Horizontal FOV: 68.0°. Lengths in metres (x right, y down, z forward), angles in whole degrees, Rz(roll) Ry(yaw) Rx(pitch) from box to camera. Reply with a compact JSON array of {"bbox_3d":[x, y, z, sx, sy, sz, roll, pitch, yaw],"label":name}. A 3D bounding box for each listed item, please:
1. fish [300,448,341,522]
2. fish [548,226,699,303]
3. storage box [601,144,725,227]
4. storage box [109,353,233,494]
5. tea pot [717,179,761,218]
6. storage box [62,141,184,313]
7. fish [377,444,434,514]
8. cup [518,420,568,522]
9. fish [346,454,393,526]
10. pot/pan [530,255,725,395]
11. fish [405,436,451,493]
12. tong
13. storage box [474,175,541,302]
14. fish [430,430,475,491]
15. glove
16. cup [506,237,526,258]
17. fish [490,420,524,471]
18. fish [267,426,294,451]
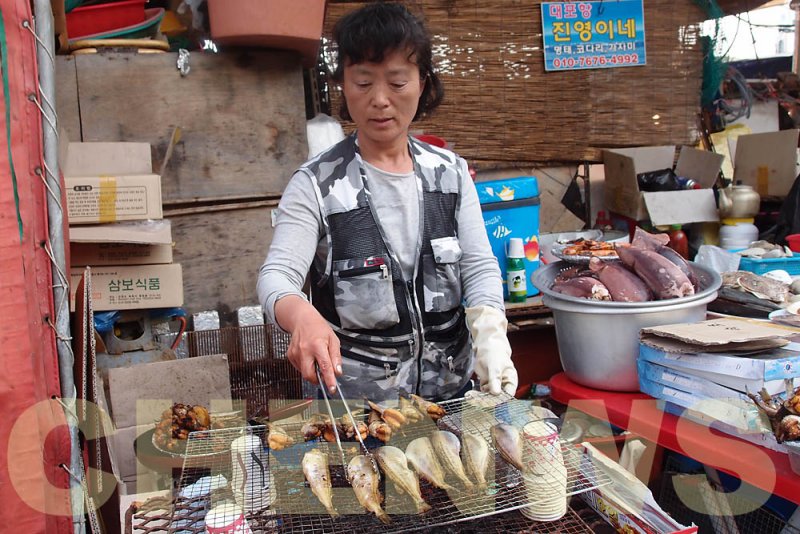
[{"bbox_3d":[-0.311,0.821,2.261,0.108,0.193,0.223,-8,7,-12],"label":"fish"},{"bbox_3d":[1.263,0.014,3.358,0.581,0.249,0.535,10,15,19],"label":"fish"},{"bbox_3d":[2.346,-0.753,5.329,0.822,0.516,0.960,-3,22,0],"label":"storage box"},{"bbox_3d":[-1.226,0.894,3.257,0.668,0.657,0.696,-9,7,-22],"label":"storage box"},{"bbox_3d":[2.848,-0.550,5.013,0.336,0.258,0.333,-4,9,1],"label":"tea pot"},{"bbox_3d":[-1.878,-0.355,4.106,0.817,1.065,1.041,-3,26,-12],"label":"storage box"},{"bbox_3d":[0.009,0.805,2.289,0.119,0.116,0.250,37,9,-33],"label":"fish"},{"bbox_3d":[0.555,0.796,2.303,0.179,0.313,0.303,-5,7,14],"label":"cup"},{"bbox_3d":[-0.127,0.821,2.242,0.089,0.073,0.278,-11,42,-11],"label":"fish"},{"bbox_3d":[1.139,0.338,3.016,0.789,0.452,0.785,0,6,5],"label":"pot/pan"},{"bbox_3d":[0.112,0.769,2.382,0.175,0.079,0.212,1,31,-6],"label":"fish"},{"bbox_3d":[-0.200,0.657,2.344,0.158,0.073,0.636,-6,52,-31],"label":"tong"},{"bbox_3d":[1.085,-0.235,4.891,0.584,0.941,0.597,-10,5,-43],"label":"storage box"},{"bbox_3d":[0.174,0.775,2.363,0.161,0.275,0.069,16,38,-9],"label":"fish"},{"bbox_3d":[0.409,0.397,2.636,0.223,0.116,0.392,1,51,5],"label":"glove"},{"bbox_3d":[0.897,-0.144,4.613,0.147,0.135,0.143,-2,4,0],"label":"cup"},{"bbox_3d":[0.430,0.702,2.330,0.085,0.060,0.164,-15,52,-27],"label":"fish"},{"bbox_3d":[-0.486,0.693,2.405,0.093,0.041,0.068,-1,48,-26],"label":"fish"}]
